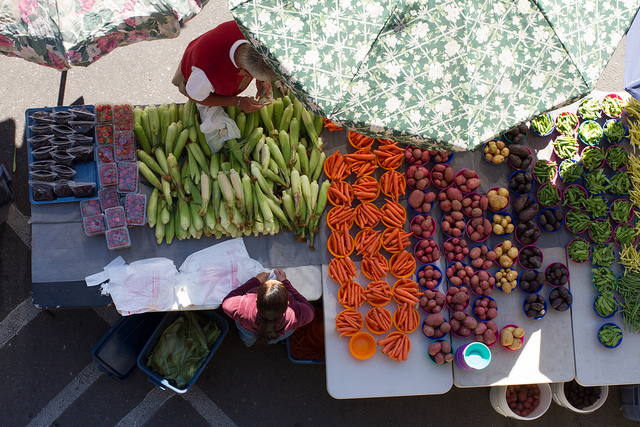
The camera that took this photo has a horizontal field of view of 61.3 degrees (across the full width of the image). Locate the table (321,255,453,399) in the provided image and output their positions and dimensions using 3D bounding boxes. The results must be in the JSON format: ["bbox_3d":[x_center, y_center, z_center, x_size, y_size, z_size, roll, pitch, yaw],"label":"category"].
[{"bbox_3d":[0.794,1.344,6.432,1.413,0.344,1.579,-3,85,-2],"label":"table"}]

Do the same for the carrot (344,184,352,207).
[{"bbox_3d":[0.324,-0.219,6.565,0.056,0.255,0.070,-15,-1,29],"label":"carrot"}]

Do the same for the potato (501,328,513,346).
[{"bbox_3d":[2.206,1.453,6.448,0.132,0.128,0.164,-6,48,-13],"label":"potato"}]

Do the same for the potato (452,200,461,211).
[{"bbox_3d":[1.627,-0.102,6.509,0.081,0.116,0.061,-8,11,14],"label":"potato"}]

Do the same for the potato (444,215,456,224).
[{"bbox_3d":[1.558,0.068,6.538,0.113,0.064,0.090,32,85,2],"label":"potato"}]

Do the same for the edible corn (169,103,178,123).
[{"bbox_3d":[-1.844,-1.260,6.712,0.059,0.198,0.146,-7,9,0],"label":"edible corn"}]

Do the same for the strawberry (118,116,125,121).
[{"bbox_3d":[-2.435,-1.167,6.616,0.068,0.039,0.036,-8,48,-15],"label":"strawberry"}]

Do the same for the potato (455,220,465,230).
[{"bbox_3d":[1.675,0.132,6.501,0.075,0.081,0.108,-23,33,25],"label":"potato"}]

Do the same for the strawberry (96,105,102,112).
[{"bbox_3d":[-2.713,-1.286,6.620,0.058,0.057,0.095,8,48,-6],"label":"strawberry"}]

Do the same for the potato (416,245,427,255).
[{"bbox_3d":[1.211,0.433,6.540,0.087,0.048,0.096,-1,70,-27],"label":"potato"}]

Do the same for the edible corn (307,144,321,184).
[{"bbox_3d":[-0.093,-0.649,6.709,0.092,0.568,0.124,14,14,28],"label":"edible corn"}]

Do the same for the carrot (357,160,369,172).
[{"bbox_3d":[0.516,-0.585,6.617,0.048,0.116,0.158,34,52,25],"label":"carrot"}]

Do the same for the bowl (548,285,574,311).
[{"bbox_3d":[2.885,1.009,6.547,0.264,0.302,0.157,3,13,-5],"label":"bowl"}]

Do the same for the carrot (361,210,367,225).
[{"bbox_3d":[0.506,0.039,6.563,0.038,0.036,0.171,-13,81,-21],"label":"carrot"}]

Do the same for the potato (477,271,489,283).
[{"bbox_3d":[1.945,0.757,6.511,0.137,0.102,0.105,5,46,-3],"label":"potato"}]

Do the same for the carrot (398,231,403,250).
[{"bbox_3d":[0.957,0.335,6.478,0.038,0.031,0.186,-2,84,-6],"label":"carrot"}]

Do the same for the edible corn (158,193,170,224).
[{"bbox_3d":[-1.903,-0.036,6.589,0.105,0.109,0.431,-7,68,-15],"label":"edible corn"}]

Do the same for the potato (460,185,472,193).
[{"bbox_3d":[1.759,-0.296,6.563,0.104,0.058,0.062,23,66,12],"label":"potato"}]

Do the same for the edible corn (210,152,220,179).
[{"bbox_3d":[-1.304,-0.592,6.685,0.087,0.088,0.347,14,77,-14],"label":"edible corn"}]

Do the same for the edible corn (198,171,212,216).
[{"bbox_3d":[-1.404,-0.255,6.580,0.129,0.473,0.149,-3,0,8],"label":"edible corn"}]

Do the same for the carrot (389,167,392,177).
[{"bbox_3d":[0.843,-0.518,6.601,0.017,0.022,0.086,21,64,-8],"label":"carrot"}]

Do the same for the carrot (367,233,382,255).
[{"bbox_3d":[0.643,0.358,6.530,0.054,0.151,0.236,31,50,22],"label":"carrot"}]

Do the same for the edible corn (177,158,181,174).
[{"bbox_3d":[-1.757,-0.607,6.704,0.024,0.039,0.155,2,74,-12],"label":"edible corn"}]

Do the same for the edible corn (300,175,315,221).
[{"bbox_3d":[-0.171,-0.231,6.701,0.123,0.138,0.599,-9,84,-1],"label":"edible corn"}]

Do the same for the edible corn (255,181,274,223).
[{"bbox_3d":[-0.706,-0.126,6.645,0.116,0.636,0.146,-15,-7,34],"label":"edible corn"}]

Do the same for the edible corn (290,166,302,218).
[{"bbox_3d":[-0.285,-0.285,6.615,0.103,0.150,0.575,-4,82,3],"label":"edible corn"}]

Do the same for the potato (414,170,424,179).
[{"bbox_3d":[1.180,-0.470,6.506,0.097,0.087,0.089,-14,59,10],"label":"potato"}]

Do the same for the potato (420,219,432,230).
[{"bbox_3d":[1.267,0.126,6.507,0.121,0.109,0.066,2,45,-6],"label":"potato"}]

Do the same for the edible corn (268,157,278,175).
[{"bbox_3d":[-0.583,-0.583,6.666,0.056,0.212,0.066,-5,-5,35],"label":"edible corn"}]

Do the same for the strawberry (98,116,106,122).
[{"bbox_3d":[-2.685,-1.166,6.626,0.064,0.070,0.024,2,6,-15],"label":"strawberry"}]

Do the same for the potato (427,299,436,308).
[{"bbox_3d":[1.309,1.054,6.409,0.080,0.060,0.083,-32,88,0],"label":"potato"}]

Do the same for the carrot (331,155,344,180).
[{"bbox_3d":[0.191,-0.567,6.659,0.078,0.074,0.301,26,87,-3],"label":"carrot"}]

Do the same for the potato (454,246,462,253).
[{"bbox_3d":[1.641,0.422,6.497,0.078,0.071,0.071,4,43,-13],"label":"potato"}]

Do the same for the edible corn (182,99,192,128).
[{"bbox_3d":[-1.663,-1.224,6.706,0.104,0.378,0.074,9,5,-34],"label":"edible corn"}]

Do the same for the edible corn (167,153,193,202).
[{"bbox_3d":[-1.774,-0.483,6.692,0.178,0.782,0.175,-12,6,7],"label":"edible corn"}]

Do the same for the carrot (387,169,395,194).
[{"bbox_3d":[0.841,-0.408,6.571,0.057,0.316,0.040,15,3,23],"label":"carrot"}]

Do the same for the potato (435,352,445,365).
[{"bbox_3d":[1.391,1.685,6.327,0.084,0.064,0.117,7,84,4],"label":"potato"}]

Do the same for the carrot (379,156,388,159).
[{"bbox_3d":[0.763,-0.693,6.621,0.095,0.027,0.019,6,34,2],"label":"carrot"}]

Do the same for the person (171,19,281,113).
[{"bbox_3d":[-1.046,-1.611,6.073,0.481,0.861,1.305,-34,64,-24],"label":"person"}]

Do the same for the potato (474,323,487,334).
[{"bbox_3d":[1.881,1.350,6.413,0.075,0.139,0.086,5,42,-53],"label":"potato"}]

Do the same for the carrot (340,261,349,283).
[{"bbox_3d":[0.268,0.691,6.507,0.053,0.055,0.256,-12,84,-33],"label":"carrot"}]

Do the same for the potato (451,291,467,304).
[{"bbox_3d":[1.636,0.989,6.406,0.140,0.115,0.081,-16,9,23],"label":"potato"}]

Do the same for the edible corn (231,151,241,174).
[{"bbox_3d":[-1.060,-0.628,6.690,0.079,0.283,0.088,-13,5,14],"label":"edible corn"}]

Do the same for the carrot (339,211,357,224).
[{"bbox_3d":[0.316,0.036,6.563,0.191,0.053,0.044,-34,23,-10],"label":"carrot"}]

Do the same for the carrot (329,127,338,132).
[{"bbox_3d":[0.152,-1.052,6.741,0.079,0.064,0.021,-13,15,16],"label":"carrot"}]

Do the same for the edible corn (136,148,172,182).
[{"bbox_3d":[-2.040,-0.601,6.644,0.435,0.095,0.104,47,39,-8],"label":"edible corn"}]
